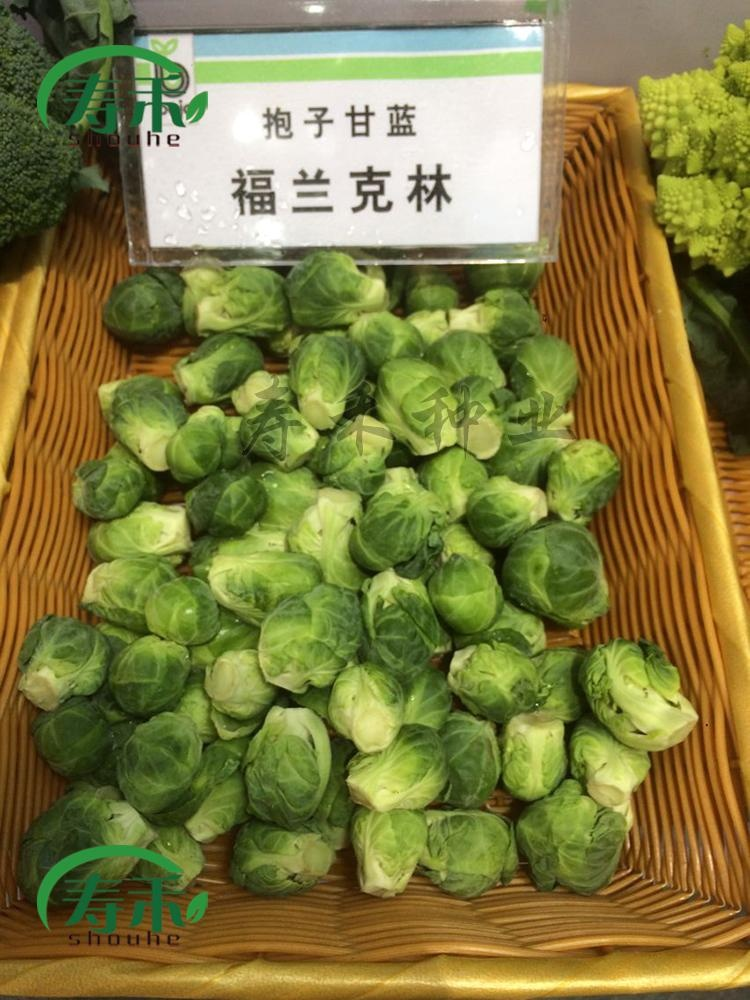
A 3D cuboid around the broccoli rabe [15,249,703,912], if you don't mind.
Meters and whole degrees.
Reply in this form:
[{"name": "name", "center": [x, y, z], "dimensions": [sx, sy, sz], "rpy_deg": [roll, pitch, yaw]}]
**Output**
[{"name": "broccoli rabe", "center": [-0.033, 0.199, 1.694], "dimensions": [1.131, 0.369, 1.207], "rpy_deg": [-2, 81, -3]}]
